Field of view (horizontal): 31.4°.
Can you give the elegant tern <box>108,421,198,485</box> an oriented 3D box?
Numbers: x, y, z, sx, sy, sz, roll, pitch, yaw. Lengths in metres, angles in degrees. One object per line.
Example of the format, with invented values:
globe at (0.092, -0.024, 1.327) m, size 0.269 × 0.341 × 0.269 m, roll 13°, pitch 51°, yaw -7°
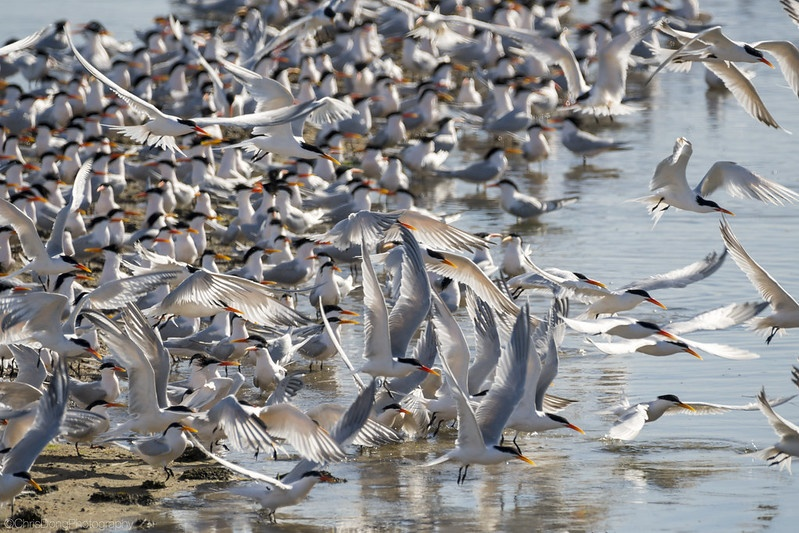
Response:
elegant tern at (-3.381, 2.452, 19.345) m, size 1.355 × 0.703 × 0.436 m, roll 2°, pitch 8°, yaw 22°
